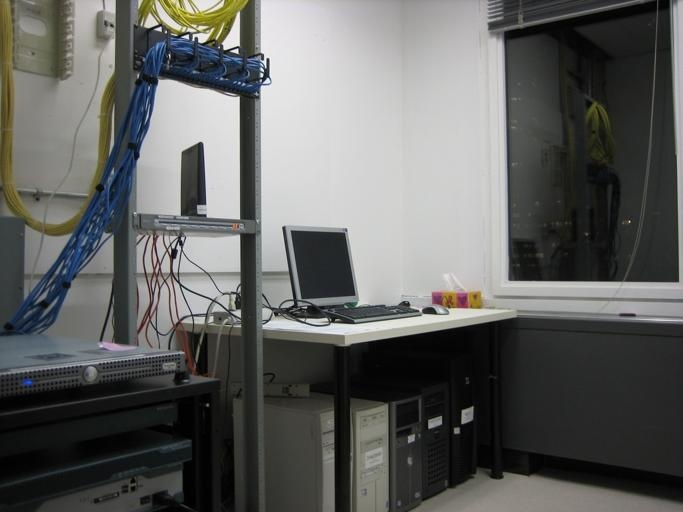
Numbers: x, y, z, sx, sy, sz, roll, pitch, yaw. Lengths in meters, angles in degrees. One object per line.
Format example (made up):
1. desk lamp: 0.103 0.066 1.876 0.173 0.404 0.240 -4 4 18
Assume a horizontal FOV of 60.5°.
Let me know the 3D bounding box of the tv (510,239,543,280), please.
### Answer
1. tv: 1.100 0.031 3.479 0.195 0.300 0.029 -5 -9 42

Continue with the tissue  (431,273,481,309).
1. tissue : 0.698 0.205 3.522 0.290 0.188 0.338 1 1 14
